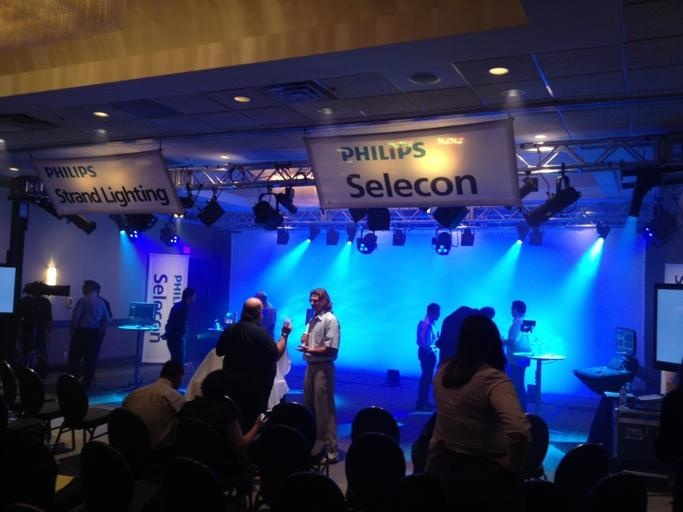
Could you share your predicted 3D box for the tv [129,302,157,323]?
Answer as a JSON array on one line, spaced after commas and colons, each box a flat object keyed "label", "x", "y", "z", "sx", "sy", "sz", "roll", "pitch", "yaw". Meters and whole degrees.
[{"label": "tv", "x": -4.223, "y": 1.198, "z": 11.033, "sx": 0.623, "sy": 0.414, "sz": 0.199, "roll": 1, "pitch": -2, "yaw": 13}]
